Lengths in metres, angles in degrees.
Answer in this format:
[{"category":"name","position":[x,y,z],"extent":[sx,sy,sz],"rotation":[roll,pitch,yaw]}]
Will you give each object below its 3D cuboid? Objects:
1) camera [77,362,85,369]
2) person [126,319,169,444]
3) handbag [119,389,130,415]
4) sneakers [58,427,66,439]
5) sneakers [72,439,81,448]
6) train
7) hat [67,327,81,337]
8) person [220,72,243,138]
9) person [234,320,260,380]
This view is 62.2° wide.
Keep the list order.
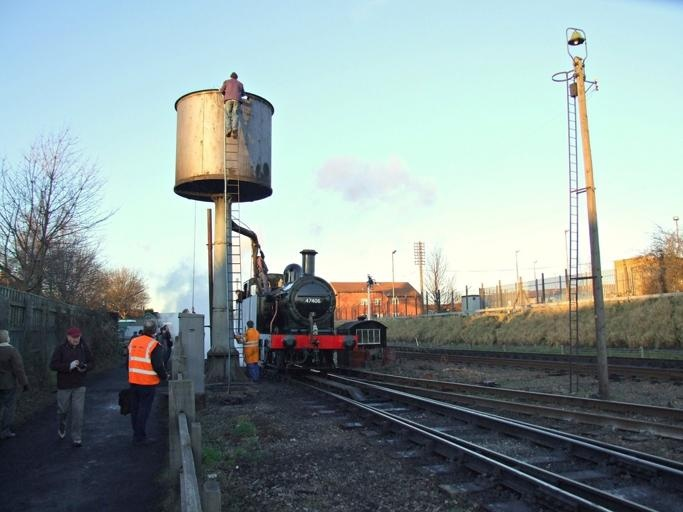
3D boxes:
[{"category":"camera","position":[-5.243,2.234,11.449],"extent":[0.085,0.120,0.129],"rotation":[9,-46,-25]},{"category":"person","position":[-3.906,2.493,11.261],"extent":[0.931,2.431,0.472],"rotation":[-4,-5,24]},{"category":"handbag","position":[-4.355,2.947,11.380],"extent":[0.283,0.480,0.171],"rotation":[4,-12,-21]},{"category":"sneakers","position":[-5.953,3.783,12.079],"extent":[0.151,0.225,0.484],"rotation":[8,-13,-23]},{"category":"sneakers","position":[-5.334,3.787,11.418],"extent":[0.112,0.142,0.129],"rotation":[1,-12,-14]},{"category":"train","position":[-1.790,2.084,21.433],"extent":[2.748,4.608,4.671],"rotation":[0,-7,-28]},{"category":"hat","position":[-5.532,1.583,11.770],"extent":[0.239,0.146,0.351],"rotation":[6,-3,-19]},{"category":"person","position":[-3.373,-4.692,17.559],"extent":[0.637,1.925,0.814],"rotation":[1,-6,-36]},{"category":"person","position":[-2.958,3.054,18.074],"extent":[0.560,1.956,1.509],"rotation":[-2,-6,-4]}]
